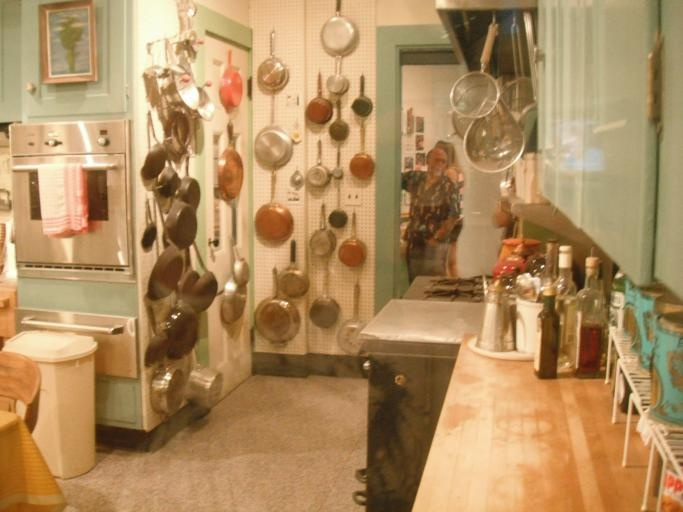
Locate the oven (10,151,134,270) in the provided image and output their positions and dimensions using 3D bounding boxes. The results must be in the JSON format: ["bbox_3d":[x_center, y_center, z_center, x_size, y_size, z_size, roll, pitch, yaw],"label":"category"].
[{"bbox_3d":[-1.452,-0.200,3.241,0.575,0.579,0.424,-1,1,-31],"label":"oven"}]

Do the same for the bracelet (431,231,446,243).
[{"bbox_3d":[0.729,-0.149,4.573,0.063,0.094,0.032,23,20,29],"label":"bracelet"}]

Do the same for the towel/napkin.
[{"bbox_3d":[-1.399,-0.278,3.051,0.243,0.356,0.102,-3,4,-2],"label":"towel/napkin"}]
